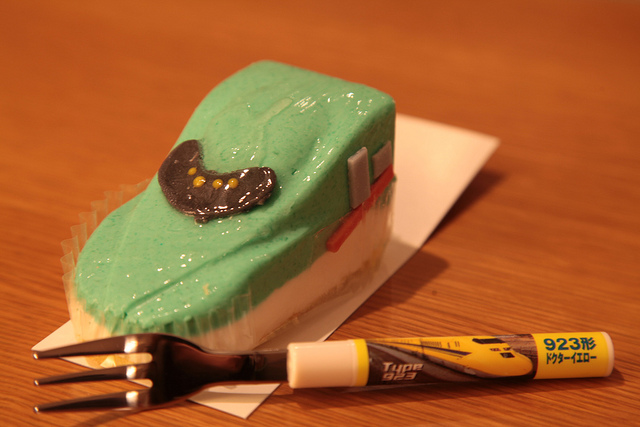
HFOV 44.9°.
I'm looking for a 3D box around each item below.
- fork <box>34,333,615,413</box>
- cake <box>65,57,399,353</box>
[{"bbox_3d":[0.008,0.157,0.817,0.623,0.072,0.043,1,98,-6],"label":"fork"},{"bbox_3d":[-0.100,-0.006,0.930,0.262,0.208,0.391,33,63,29],"label":"cake"}]
